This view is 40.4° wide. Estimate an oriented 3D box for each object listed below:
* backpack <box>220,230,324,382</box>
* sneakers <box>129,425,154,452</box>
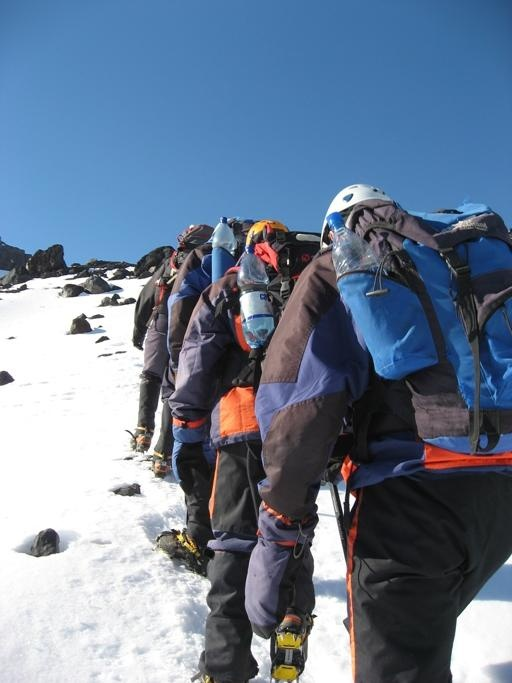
[{"bbox_3d":[0.077,-0.258,4.062,0.630,0.860,0.380,6,-12,14],"label":"backpack"},{"bbox_3d":[-1.195,1.030,7.369,0.220,0.251,0.265,6,6,2],"label":"sneakers"}]
